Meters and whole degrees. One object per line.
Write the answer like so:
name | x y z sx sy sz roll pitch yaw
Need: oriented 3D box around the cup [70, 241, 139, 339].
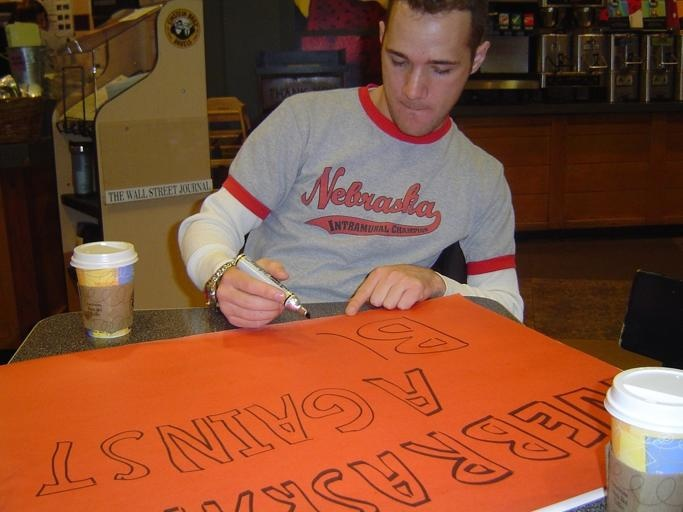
cup | -0.387 0.063 0.958 0.107 0.131 0.100 -1 5 0
